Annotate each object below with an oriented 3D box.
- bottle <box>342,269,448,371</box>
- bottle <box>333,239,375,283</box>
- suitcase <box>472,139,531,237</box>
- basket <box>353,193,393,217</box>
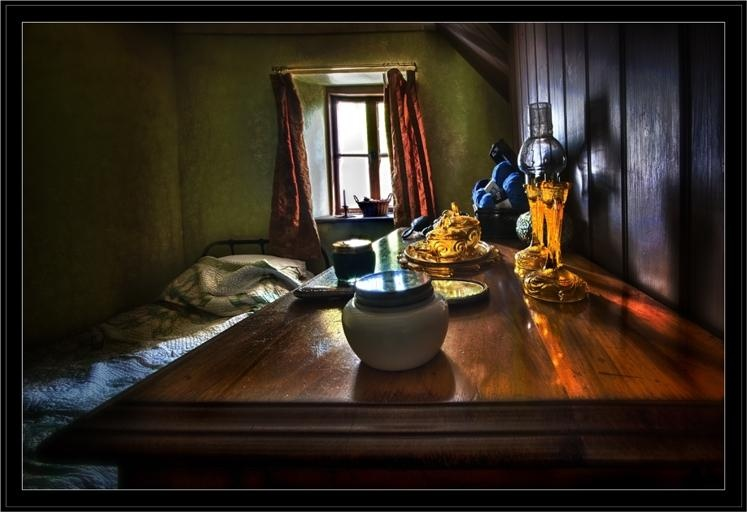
[{"bbox_3d":[0.036,0.082,0.742,0.129,0.095,0.129,-5,17,2],"label":"bottle"},{"bbox_3d":[-0.047,0.009,1.154,0.095,0.080,0.093,-8,16,-27],"label":"bottle"},{"bbox_3d":[0.427,-0.229,1.741,0.155,0.294,0.279,7,14,24],"label":"suitcase"},{"bbox_3d":[-0.002,-0.307,3.308,0.178,0.102,0.178,0,-6,-5],"label":"basket"}]
